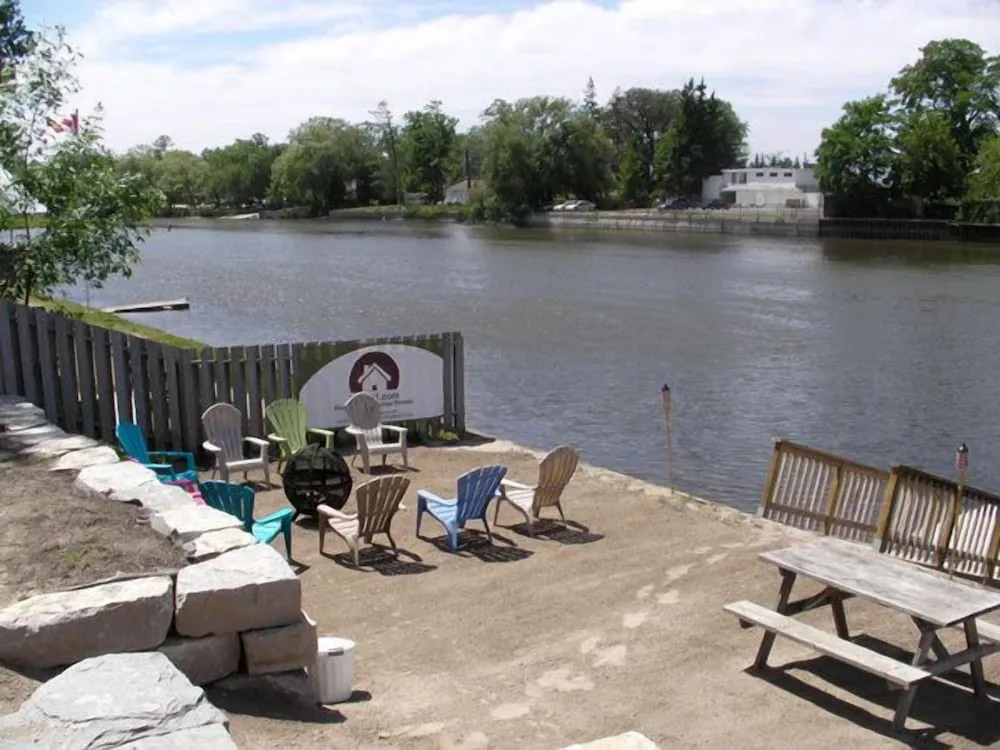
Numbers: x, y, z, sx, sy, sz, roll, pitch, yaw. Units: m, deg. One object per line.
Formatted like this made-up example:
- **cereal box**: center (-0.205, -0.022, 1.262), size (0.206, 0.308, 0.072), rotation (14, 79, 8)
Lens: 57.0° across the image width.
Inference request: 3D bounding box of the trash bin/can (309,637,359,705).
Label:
- **trash bin/can**: center (-1.372, 2.374, 7.569), size (0.443, 0.445, 0.420), rotation (-4, 12, -31)

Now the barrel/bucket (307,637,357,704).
- **barrel/bucket**: center (-1.342, 2.393, 7.600), size (0.450, 0.431, 0.421), rotation (2, 8, 0)
